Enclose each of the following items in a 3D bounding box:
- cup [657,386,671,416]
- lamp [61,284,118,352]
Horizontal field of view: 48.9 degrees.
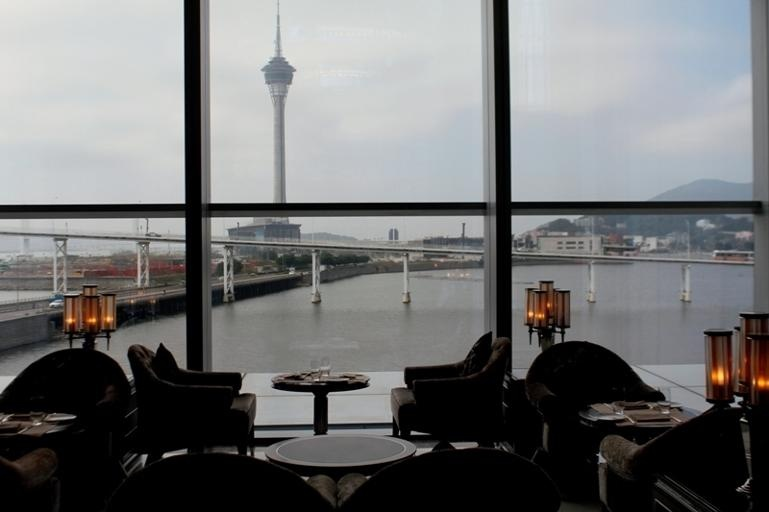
[{"bbox_3d":[2.833,1.421,8.521,0.118,0.255,0.430,-1,0,18],"label":"cup"},{"bbox_3d":[-3.225,0.669,9.383,0.642,0.875,0.645,1,2,-5],"label":"lamp"}]
